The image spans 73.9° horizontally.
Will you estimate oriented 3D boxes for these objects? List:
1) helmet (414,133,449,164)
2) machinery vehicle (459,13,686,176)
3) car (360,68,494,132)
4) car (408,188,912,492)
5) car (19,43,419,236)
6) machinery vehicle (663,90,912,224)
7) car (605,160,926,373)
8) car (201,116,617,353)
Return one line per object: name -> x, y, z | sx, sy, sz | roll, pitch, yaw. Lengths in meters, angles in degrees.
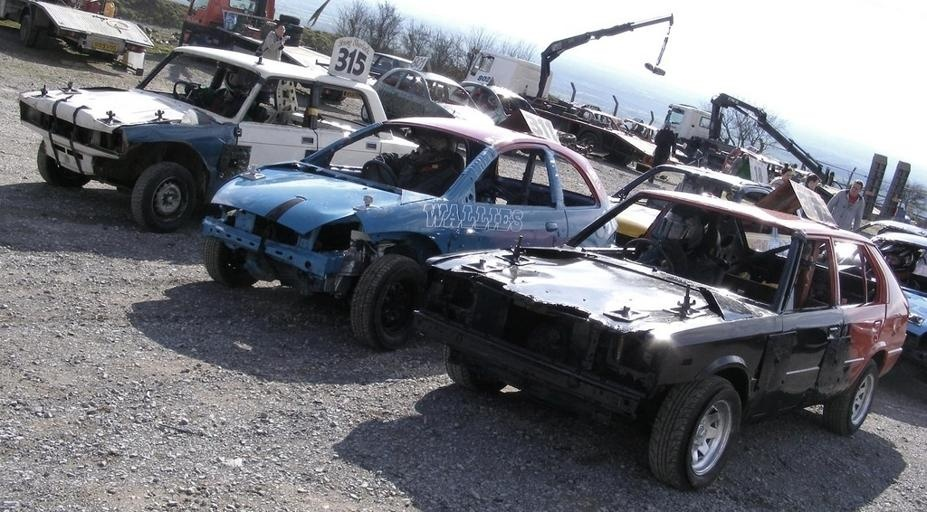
helmet -> -0.411, -1.462, 8.588 | 0.364, 0.432, 0.398 | 16, -13, -34
machinery vehicle -> 5.193, -8.598, 29.578 | 3.577, 6.162, 10.327 | -25, 39, -36
car -> -1.801, -5.748, 20.723 | 5.641, 1.827, 2.541 | 22, 29, 36
car -> 2.775, 0.880, 7.298 | 5.396, 2.089, 3.059 | 3, 8, -37
car -> -3.805, -2.168, 10.465 | 5.484, 2.208, 3.217 | -9, 23, -39
machinery vehicle -> 21.081, -6.328, 39.081 | 11.184, 5.236, 2.897 | 10, 17, 0
car -> 5.535, -0.337, 11.251 | 5.767, 2.418, 3.258 | 16, 11, -20
car -> -0.540, -0.371, 8.767 | 5.368, 2.191, 3.073 | -6, 16, -38
